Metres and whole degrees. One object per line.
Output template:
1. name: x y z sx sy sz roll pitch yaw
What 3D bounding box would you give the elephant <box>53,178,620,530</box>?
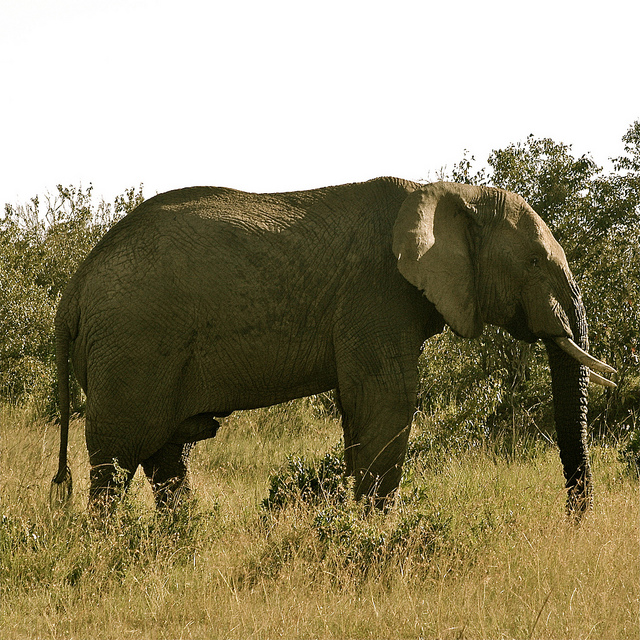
1. elephant: 0.216 0.198 7.439 4.057 3.461 2.114 -2 -1 0
